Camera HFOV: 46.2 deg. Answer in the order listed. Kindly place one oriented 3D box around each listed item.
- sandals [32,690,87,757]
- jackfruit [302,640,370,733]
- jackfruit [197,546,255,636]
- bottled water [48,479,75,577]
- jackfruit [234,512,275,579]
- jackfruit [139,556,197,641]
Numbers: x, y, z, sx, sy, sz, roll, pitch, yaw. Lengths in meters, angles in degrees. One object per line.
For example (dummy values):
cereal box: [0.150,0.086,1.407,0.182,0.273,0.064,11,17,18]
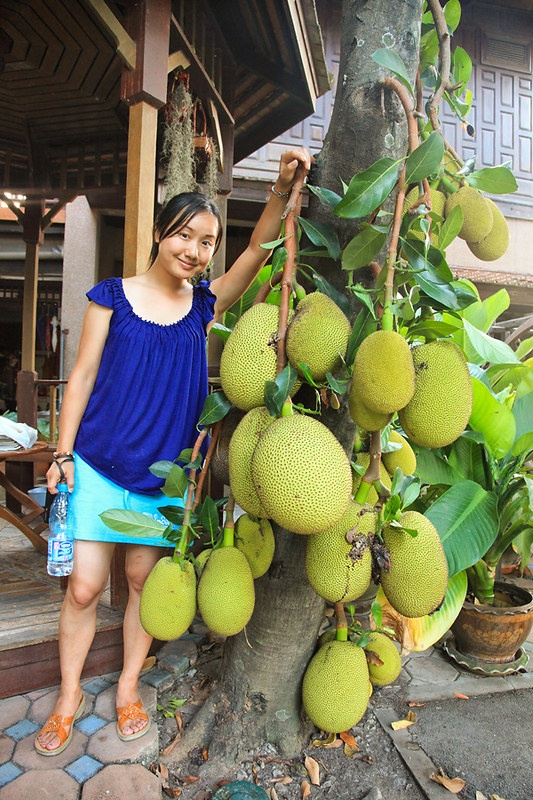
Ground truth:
sandals: [-0.590,0.912,1.765,0.082,0.061,0.222,16,4,-1]
jackfruit: [0.136,0.587,1.282,0.136,0.180,0.098,4,3,21]
jackfruit: [-0.074,0.346,1.118,0.099,0.156,0.097,3,3,-5]
bottled water: [-0.536,0.340,1.638,0.063,0.261,0.076,3,3,-18]
jackfruit: [-0.021,0.268,1.184,0.079,0.114,0.067,1,-4,22]
jackfruit: [-0.179,0.366,1.142,0.104,0.159,0.110,4,3,13]
